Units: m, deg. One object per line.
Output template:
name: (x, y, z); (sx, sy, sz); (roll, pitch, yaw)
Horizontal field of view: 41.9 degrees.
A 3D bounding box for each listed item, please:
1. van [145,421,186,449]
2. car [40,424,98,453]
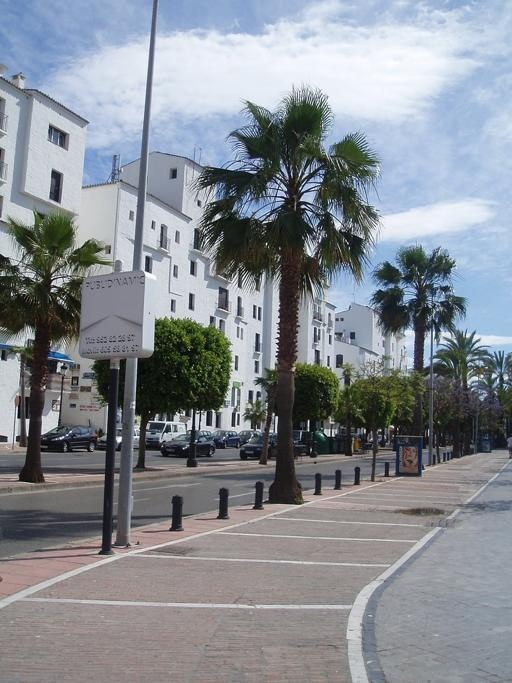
van: (-6.216, 6.349, 45.747); (1.873, 1.709, 3.133); (-4, -13, 17)
car: (-10.170, 5.307, 36.067); (1.479, 1.204, 2.582); (-7, -17, 29)
